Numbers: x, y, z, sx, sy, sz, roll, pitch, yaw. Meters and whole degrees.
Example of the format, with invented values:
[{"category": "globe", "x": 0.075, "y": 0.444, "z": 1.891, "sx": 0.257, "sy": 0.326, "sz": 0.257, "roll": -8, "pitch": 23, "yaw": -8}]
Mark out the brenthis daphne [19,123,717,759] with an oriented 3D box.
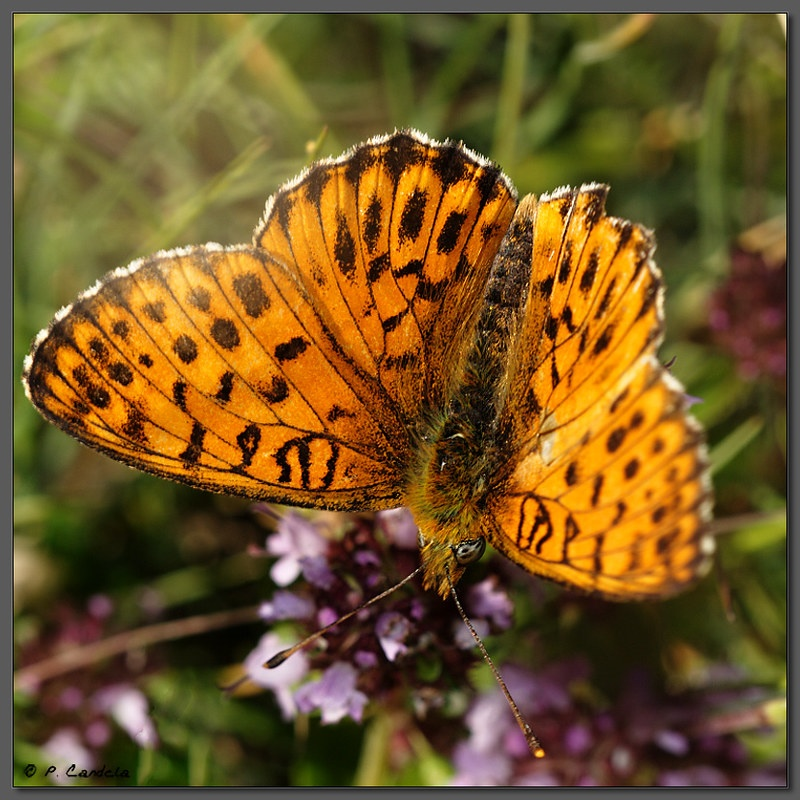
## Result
[{"category": "brenthis daphne", "x": 0.008, "y": -0.088, "z": 1.537, "sx": 1.047, "sy": 0.331, "sz": 0.695, "roll": 24, "pitch": 85, "yaw": 5}]
